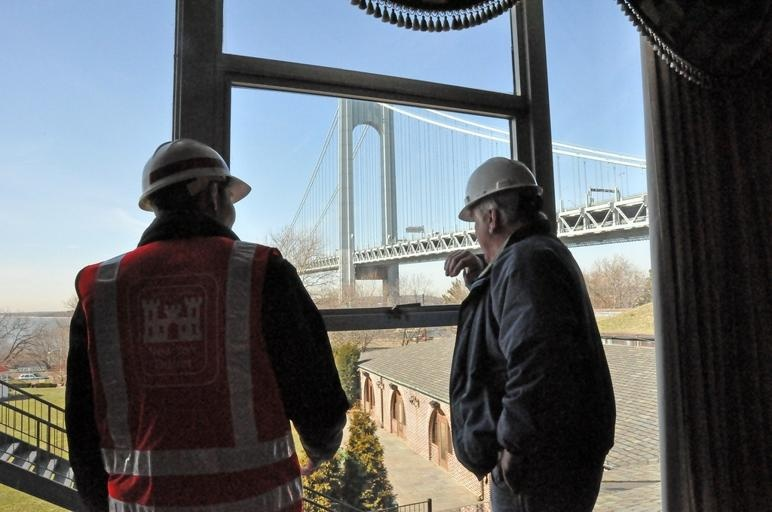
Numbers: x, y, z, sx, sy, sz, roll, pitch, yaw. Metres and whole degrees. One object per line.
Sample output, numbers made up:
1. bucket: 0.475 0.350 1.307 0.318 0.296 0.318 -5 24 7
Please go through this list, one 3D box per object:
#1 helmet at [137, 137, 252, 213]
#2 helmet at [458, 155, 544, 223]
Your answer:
1. helmet: -0.724 -0.314 2.796 0.283 0.205 0.357 -16 -7 41
2. helmet: 0.478 -0.284 3.179 0.242 0.166 0.293 1 -12 -32
